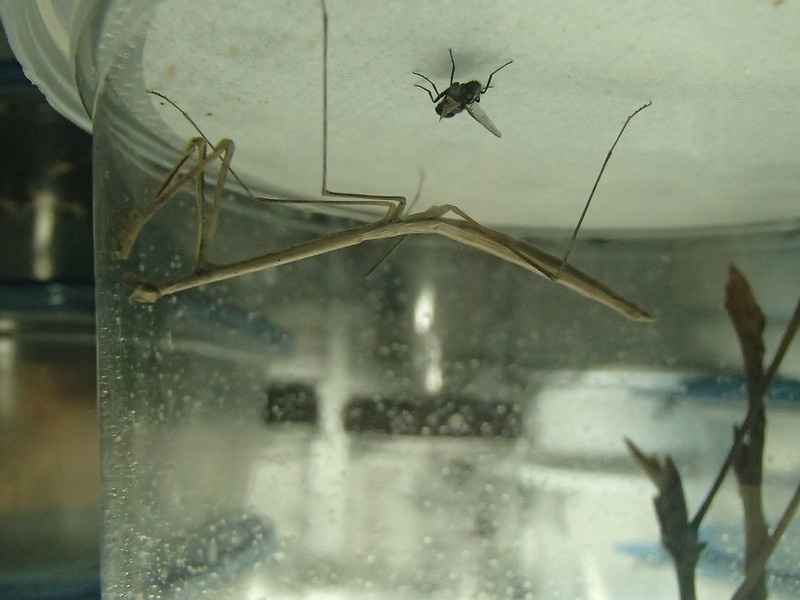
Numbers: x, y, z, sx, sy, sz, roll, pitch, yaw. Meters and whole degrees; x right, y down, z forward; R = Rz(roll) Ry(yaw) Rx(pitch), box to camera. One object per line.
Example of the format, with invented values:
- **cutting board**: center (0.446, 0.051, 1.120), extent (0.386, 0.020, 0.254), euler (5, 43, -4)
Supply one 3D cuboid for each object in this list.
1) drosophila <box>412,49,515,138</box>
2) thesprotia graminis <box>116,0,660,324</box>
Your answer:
- **drosophila**: center (0.067, -0.231, 1.317), extent (0.132, 0.071, 0.103), euler (-7, -4, -10)
- **thesprotia graminis**: center (-0.052, -0.102, 1.322), extent (0.423, 0.197, 0.441), euler (0, -4, 2)
